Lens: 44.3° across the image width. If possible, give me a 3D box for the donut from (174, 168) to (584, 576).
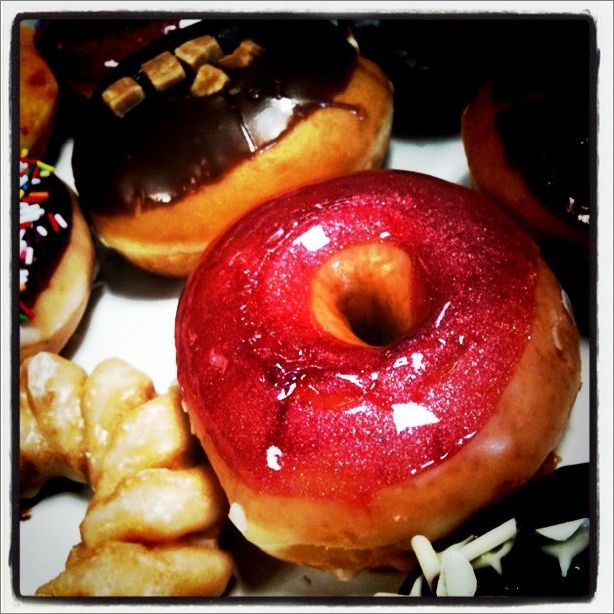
[{"bbox_3d":[0.085,0.063,0.945,0.483,0.219,0.449,-25,64,-14],"label":"donut"}]
